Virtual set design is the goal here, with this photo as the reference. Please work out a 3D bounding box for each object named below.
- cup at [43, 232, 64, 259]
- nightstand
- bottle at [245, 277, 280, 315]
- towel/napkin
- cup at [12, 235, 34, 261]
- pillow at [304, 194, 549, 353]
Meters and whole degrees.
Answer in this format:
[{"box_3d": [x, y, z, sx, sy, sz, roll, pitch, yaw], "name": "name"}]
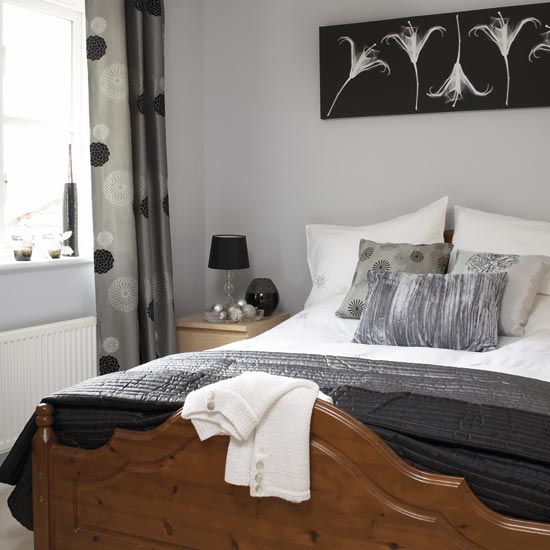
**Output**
[{"box_3d": [-1.112, -0.143, 2.455, 0.117, 0.171, 0.113, 0, 5, 0], "name": "cup"}, {"box_3d": [-0.266, 0.323, 2.945, 0.371, 0.329, 0.281, -1, 1, 26], "name": "nightstand"}, {"box_3d": [-0.076, 0.125, 3.036, 0.224, 0.245, 0.224, -1, 1, 32], "name": "bottle"}, {"box_3d": [-0.055, 0.356, 1.128, 0.303, 0.231, 0.174, 1, 4, 17], "name": "towel/napkin"}, {"box_3d": [-1.180, -0.126, 2.369, 0.120, 0.120, 0.110, 1, 3, 0], "name": "cup"}, {"box_3d": [0.735, -0.005, 2.281, 0.747, 0.471, 0.201, -6, -16, 31], "name": "pillow"}]
